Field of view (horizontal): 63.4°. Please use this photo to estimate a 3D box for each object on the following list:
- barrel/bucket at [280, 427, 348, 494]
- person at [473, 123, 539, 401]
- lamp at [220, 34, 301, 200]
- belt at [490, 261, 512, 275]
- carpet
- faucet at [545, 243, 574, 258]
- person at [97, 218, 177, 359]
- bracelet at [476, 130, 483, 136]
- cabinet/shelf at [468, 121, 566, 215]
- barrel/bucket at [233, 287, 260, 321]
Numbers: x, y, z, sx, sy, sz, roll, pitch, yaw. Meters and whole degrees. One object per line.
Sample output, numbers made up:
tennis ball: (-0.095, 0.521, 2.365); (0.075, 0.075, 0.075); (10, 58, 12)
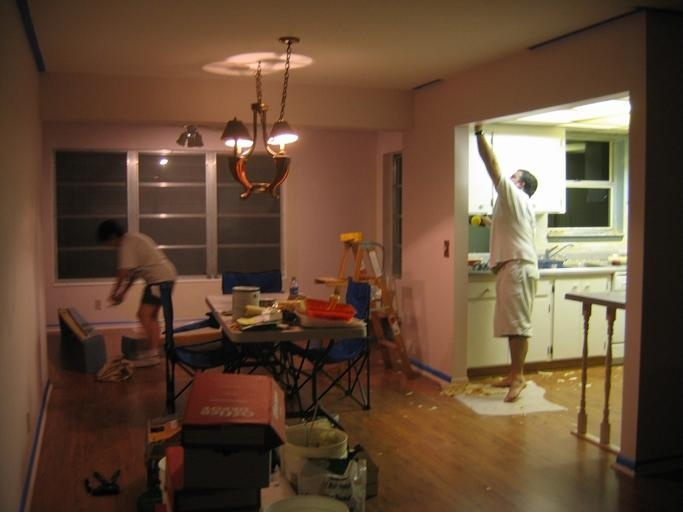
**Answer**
barrel/bucket: (-0.134, 0.953, 2.641); (0.324, 0.329, 0.330); (1, 0, 0)
person: (1.553, 0.027, 5.036); (0.419, 2.427, 0.735); (-1, 3, 36)
lamp: (-0.577, -1.046, 4.041); (0.484, 1.200, 0.473); (2, 9, -15)
belt: (1.420, 0.107, 4.971); (0.129, 0.042, 0.098); (-45, 4, 17)
carpet: (1.463, 1.251, 4.845); (0.877, 0.088, 0.718); (-3, 1, -6)
faucet: (2.473, -0.080, 6.328); (0.213, 0.067, 0.216); (-14, 10, -17)
person: (-2.111, 0.376, 5.814); (0.734, 1.124, 1.144); (-4, 2, -22)
bracelet: (1.212, -1.078, 4.879); (0.046, 0.032, 0.053); (0, 6, 0)
cabinet/shelf: (1.709, -0.895, 5.505); (0.988, 0.884, 0.348); (2, -1, -26)
barrel/bucket: (-0.642, 0.313, 3.698); (0.174, 0.204, 0.248); (-3, 2, -11)
